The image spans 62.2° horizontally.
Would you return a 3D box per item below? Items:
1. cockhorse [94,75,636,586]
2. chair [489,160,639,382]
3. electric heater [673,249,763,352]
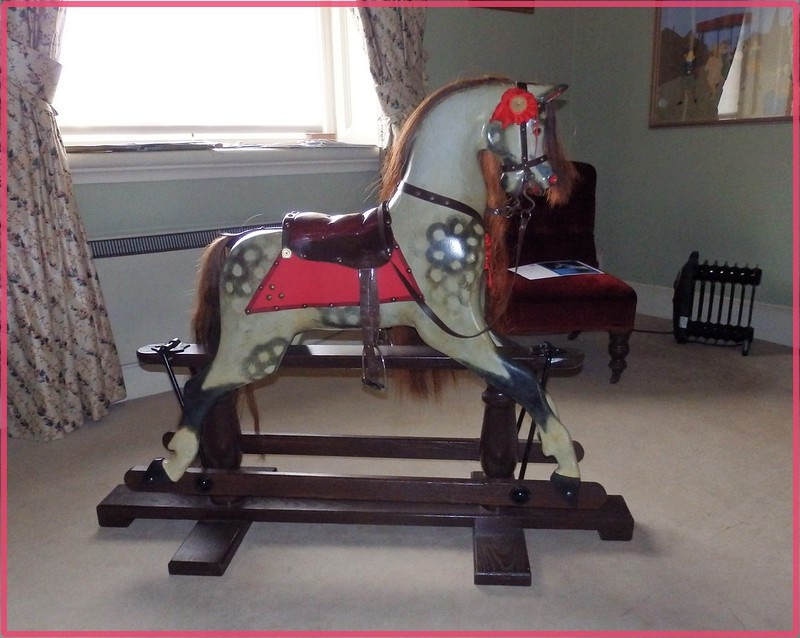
[{"bbox_3d":[-0.119,0.015,2.207,1.772,1.566,0.755,1,12,6],"label":"cockhorse"},{"bbox_3d":[0.597,-0.329,3.649,0.946,1.481,1.186,-1,15,-2],"label":"chair"},{"bbox_3d":[1.731,-0.177,3.688,0.425,0.600,0.312,0,16,2],"label":"electric heater"}]
